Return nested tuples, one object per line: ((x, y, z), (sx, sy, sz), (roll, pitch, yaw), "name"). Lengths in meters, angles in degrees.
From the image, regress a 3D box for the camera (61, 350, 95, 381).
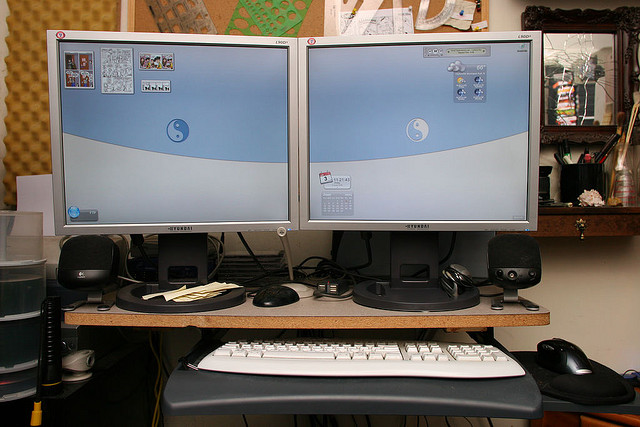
((-0.775, 0.490, 1.644), (0.094, 0.052, 0.081), (2, 6, 16), "camera")

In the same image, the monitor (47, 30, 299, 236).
((-0.491, -0.268, 1.643), (0.747, 0.560, 0.052), (0, 5, -3), "monitor")

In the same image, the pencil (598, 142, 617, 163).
((1.125, -0.234, 1.979), (0.015, 0.105, 0.019), (25, 39, 7), "pencil")

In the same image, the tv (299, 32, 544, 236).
((0.341, -0.272, 1.650), (0.735, 0.544, 0.048), (0, 4, 1), "tv")

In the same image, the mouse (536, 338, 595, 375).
((0.753, 0.427, 1.575), (0.128, 0.068, 0.214), (-4, 2, -8), "mouse")

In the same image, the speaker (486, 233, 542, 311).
((0.610, 0.176, 1.598), (0.194, 0.211, 0.206), (2, 0, -14), "speaker")
